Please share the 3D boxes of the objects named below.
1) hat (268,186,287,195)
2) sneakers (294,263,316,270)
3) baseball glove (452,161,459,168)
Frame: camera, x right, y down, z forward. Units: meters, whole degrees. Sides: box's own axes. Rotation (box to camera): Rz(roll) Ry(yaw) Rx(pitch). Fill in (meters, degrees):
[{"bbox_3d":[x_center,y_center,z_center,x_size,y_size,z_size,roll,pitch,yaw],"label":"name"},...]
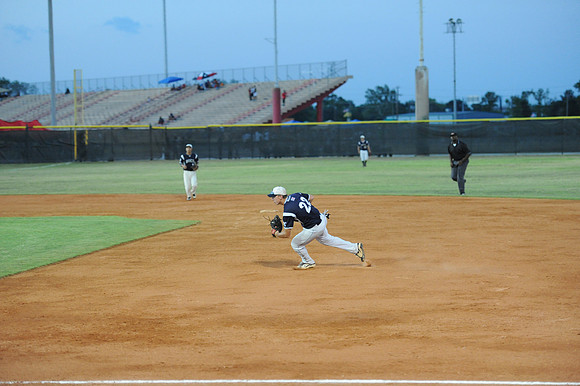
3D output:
[{"bbox_3d":[-0.380,0.000,30.767,0.484,0.226,0.318,-4,6,4],"label":"hat"},{"bbox_3d":[0.433,2.169,31.036,0.589,0.223,0.199,1,2,-7],"label":"sneakers"},{"bbox_3d":[6.176,-1.024,39.773,0.198,0.299,0.243,3,3,11],"label":"baseball glove"}]
